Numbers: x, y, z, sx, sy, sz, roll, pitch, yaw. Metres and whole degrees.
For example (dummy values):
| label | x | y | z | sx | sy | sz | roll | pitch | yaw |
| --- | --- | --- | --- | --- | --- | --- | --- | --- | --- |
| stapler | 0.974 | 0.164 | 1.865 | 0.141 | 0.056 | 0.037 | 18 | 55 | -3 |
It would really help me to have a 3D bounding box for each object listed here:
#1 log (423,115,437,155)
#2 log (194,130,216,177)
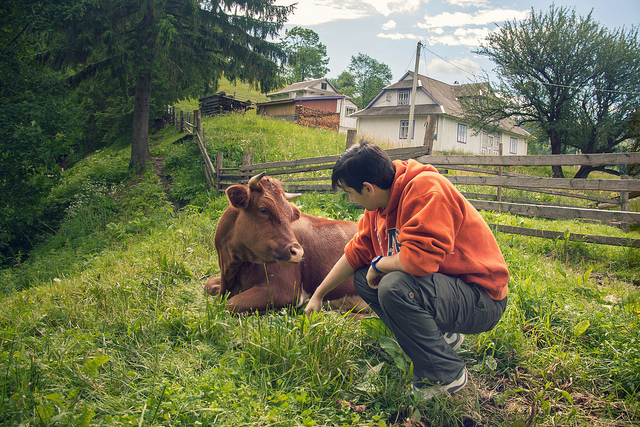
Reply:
| label | x | y | z | sx | sy | sz | roll | pitch | yaw |
| --- | --- | --- | --- | --- | --- | --- | --- | --- | --- |
| log | 3.226 | -2.335 | 14.815 | 0.257 | 1.130 | 1.175 | 4 | 12 | 12 |
| log | -4.872 | -2.542 | 21.664 | 0.335 | 1.231 | 4.732 | -2 | 13 | -18 |
